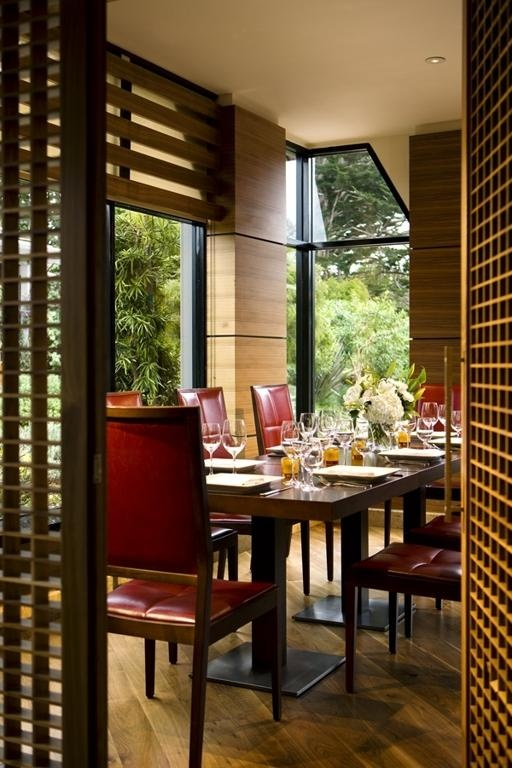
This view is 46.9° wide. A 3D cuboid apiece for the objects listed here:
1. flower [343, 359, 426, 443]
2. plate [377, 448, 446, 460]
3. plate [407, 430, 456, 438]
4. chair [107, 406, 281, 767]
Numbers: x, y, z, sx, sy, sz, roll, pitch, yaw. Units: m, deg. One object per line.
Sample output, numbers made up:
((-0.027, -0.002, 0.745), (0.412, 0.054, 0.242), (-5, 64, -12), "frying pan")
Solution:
((0.698, 0.094, 3.327), (0.437, 0.504, 0.453), (0, 1, -24), "flower")
((0.789, 0.342, 2.886), (0.178, 0.027, 0.125), (0, 2, -32), "plate")
((1.066, 0.291, 3.523), (0.208, 0.034, 0.165), (0, 0, 6), "plate")
((-0.244, 0.632, 1.879), (0.445, 1.102, 0.561), (-2, -4, 25), "chair")
